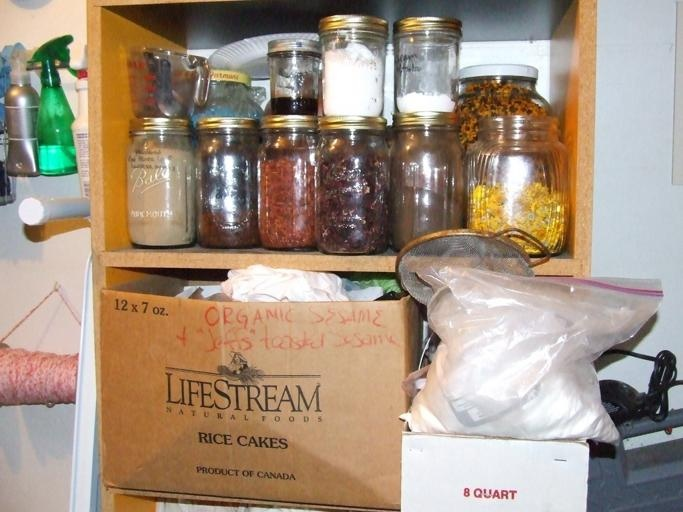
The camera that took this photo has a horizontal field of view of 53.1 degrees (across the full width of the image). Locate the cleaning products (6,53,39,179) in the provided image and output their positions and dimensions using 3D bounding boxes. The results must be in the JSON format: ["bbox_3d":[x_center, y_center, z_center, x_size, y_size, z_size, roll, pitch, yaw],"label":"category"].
[{"bbox_3d":[-0.848,-0.354,1.817,0.091,0.275,0.050,-2,7,-19],"label":"cleaning products"}]

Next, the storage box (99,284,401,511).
[{"bbox_3d":[-0.174,0.287,1.354,0.419,0.307,0.470,2,16,5],"label":"storage box"}]
